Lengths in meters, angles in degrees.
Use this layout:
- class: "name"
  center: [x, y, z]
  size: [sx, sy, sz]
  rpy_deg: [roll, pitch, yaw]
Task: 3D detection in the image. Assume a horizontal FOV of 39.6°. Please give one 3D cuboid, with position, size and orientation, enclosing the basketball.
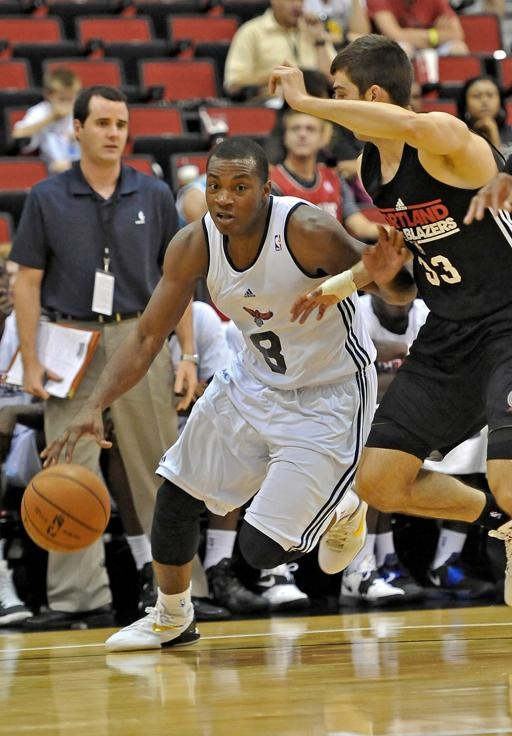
- class: "basketball"
  center: [-0.489, 0.399, 1.885]
  size: [0.213, 0.230, 0.205]
  rpy_deg: [13, 8, 32]
